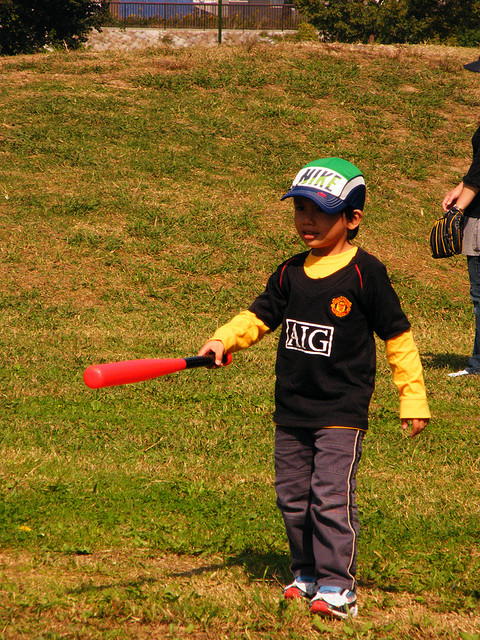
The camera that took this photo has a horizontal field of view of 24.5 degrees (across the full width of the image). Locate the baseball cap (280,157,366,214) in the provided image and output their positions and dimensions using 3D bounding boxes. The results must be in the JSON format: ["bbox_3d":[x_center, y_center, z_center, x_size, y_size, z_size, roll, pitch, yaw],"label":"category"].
[{"bbox_3d":[0.470,-0.757,6.012,0.395,0.245,0.515,15,22,26],"label":"baseball cap"}]

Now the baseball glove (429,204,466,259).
[{"bbox_3d":[1.664,-0.706,8.900,0.158,0.376,0.294,3,3,-36],"label":"baseball glove"}]

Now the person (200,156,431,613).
[{"bbox_3d":[0.437,0.305,5.910,0.787,2.287,0.977,-11,17,-43],"label":"person"}]
